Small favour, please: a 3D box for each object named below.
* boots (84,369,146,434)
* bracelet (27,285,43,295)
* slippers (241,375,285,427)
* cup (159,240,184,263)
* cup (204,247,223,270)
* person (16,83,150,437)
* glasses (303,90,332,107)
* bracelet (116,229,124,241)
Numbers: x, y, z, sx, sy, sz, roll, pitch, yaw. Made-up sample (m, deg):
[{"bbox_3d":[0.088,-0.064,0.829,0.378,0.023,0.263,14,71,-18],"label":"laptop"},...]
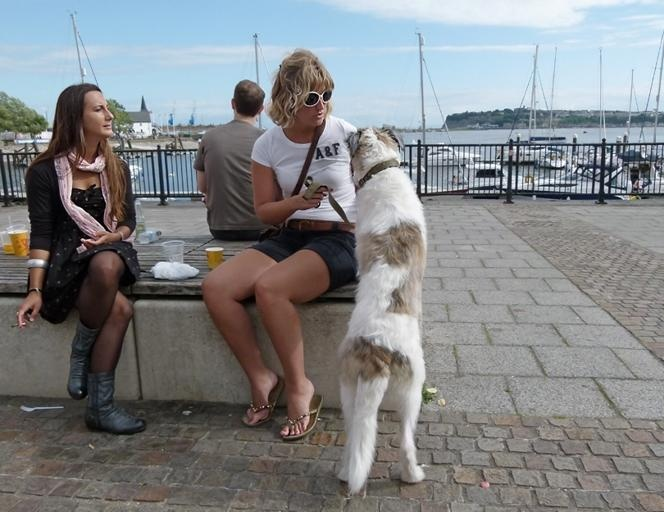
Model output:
[{"bbox_3d":[-1.434,0.966,3.445,0.421,0.394,0.195,5,7,5],"label":"boots"},{"bbox_3d":[-1.962,0.221,3.394,0.085,0.041,0.046,-2,13,0],"label":"bracelet"},{"bbox_3d":[-0.444,1.012,3.545,0.171,0.102,0.418,-4,43,37],"label":"slippers"},{"bbox_3d":[-1.266,-0.037,4.088,0.195,0.149,0.196,1,7,0],"label":"cup"},{"bbox_3d":[-0.893,0.018,4.035,0.183,0.177,0.178,0,3,0],"label":"cup"},{"bbox_3d":[-1.707,-0.008,3.479,0.734,2.245,0.897,-6,14,-18],"label":"person"},{"bbox_3d":[-0.088,-1.034,3.406,0.069,0.116,0.212,9,17,40],"label":"glasses"},{"bbox_3d":[-1.511,-0.155,3.679,0.063,0.043,0.082,-4,-3,-12],"label":"bracelet"}]
